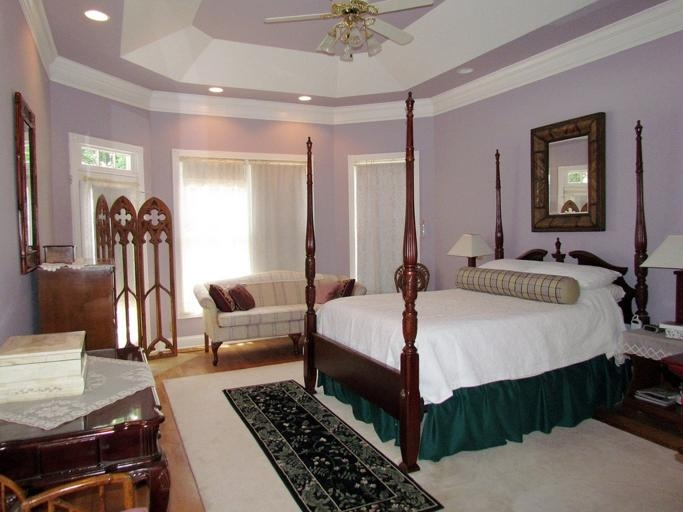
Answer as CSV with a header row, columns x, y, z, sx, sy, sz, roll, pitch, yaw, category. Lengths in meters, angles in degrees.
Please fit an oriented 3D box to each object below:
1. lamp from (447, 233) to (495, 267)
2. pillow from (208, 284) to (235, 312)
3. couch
x,y,z,sx,sy,sz,roll,pitch,yaw,category
1.590,0.029,6.137,0.549,0.636,0.590,0,1,8,lamp
-1.429,0.494,6.060,0.320,0.332,0.254,-7,11,-32,pillow
-0.756,0.722,6.501,2.012,1.027,0.735,-3,1,-19,couch
